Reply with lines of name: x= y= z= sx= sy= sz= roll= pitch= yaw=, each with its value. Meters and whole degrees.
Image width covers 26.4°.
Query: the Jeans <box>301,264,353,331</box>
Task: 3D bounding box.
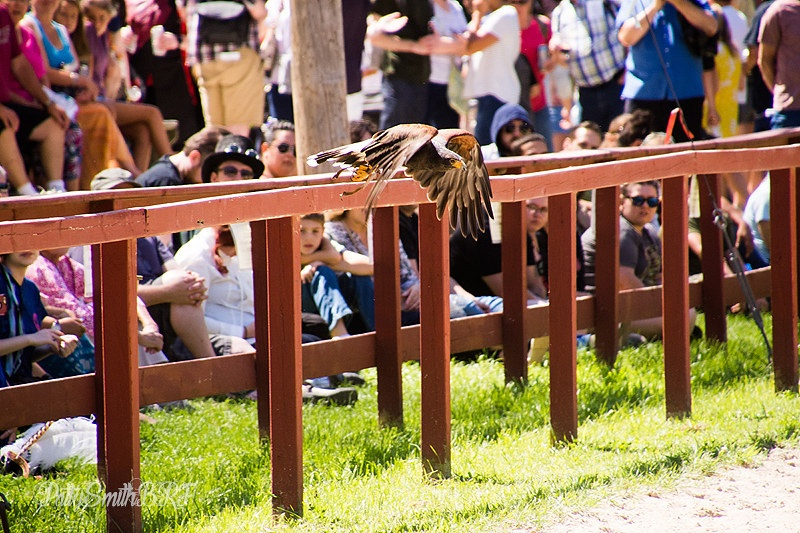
Jeans: x=-0.618 y=0.257 z=14.073 sx=0.324 sy=0.603 sz=0.268 roll=-3 pitch=9 yaw=14

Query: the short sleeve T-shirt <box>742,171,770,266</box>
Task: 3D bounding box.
short sleeve T-shirt: x=3.287 y=-0.400 z=15.673 sx=0.241 sy=0.299 sz=0.777 roll=-22 pitch=-19 yaw=5

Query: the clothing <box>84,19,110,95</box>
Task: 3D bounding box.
clothing: x=-2.755 y=-1.927 z=15.517 sx=0.166 sy=0.742 sz=0.201 roll=-12 pitch=20 yaw=-43

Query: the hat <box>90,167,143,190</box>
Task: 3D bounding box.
hat: x=-2.382 y=-0.701 z=14.072 sx=0.351 sy=0.146 sz=0.244 roll=-8 pitch=-6 yaw=43

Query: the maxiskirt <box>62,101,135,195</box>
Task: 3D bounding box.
maxiskirt: x=-2.806 y=-1.084 z=15.174 sx=0.494 sy=0.765 sz=0.632 roll=-11 pitch=3 yaw=-35

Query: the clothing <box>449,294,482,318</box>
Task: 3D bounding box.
clothing: x=0.552 y=0.349 z=14.314 sx=0.233 sy=0.099 sz=0.193 roll=3 pitch=-5 yaw=-31

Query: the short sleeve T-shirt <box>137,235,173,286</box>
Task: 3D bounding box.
short sleeve T-shirt: x=-2.025 y=-0.113 z=13.887 sx=0.180 sy=0.388 sz=0.308 roll=-28 pitch=39 yaw=-35

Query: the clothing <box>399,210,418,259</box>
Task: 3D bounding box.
clothing: x=0.090 y=-0.284 z=14.827 sx=0.236 sy=0.379 sz=0.121 roll=5 pitch=-2 yaw=28

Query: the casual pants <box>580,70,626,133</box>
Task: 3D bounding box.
casual pants: x=2.076 y=-1.669 z=17.180 sx=0.554 sy=0.810 sz=0.212 roll=1 pitch=10 yaw=19

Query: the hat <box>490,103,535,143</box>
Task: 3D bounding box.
hat: x=1.051 y=-1.340 z=15.867 sx=0.275 sy=0.348 sz=0.391 roll=22 pitch=-22 yaw=-12

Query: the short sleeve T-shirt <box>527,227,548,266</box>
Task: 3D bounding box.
short sleeve T-shirt: x=1.233 y=-0.173 z=15.202 sx=0.210 sy=0.334 sz=0.107 roll=2 pitch=0 yaw=-26

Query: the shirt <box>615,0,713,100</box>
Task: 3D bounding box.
shirt: x=2.536 y=-2.072 z=16.197 sx=0.971 sy=1.329 sz=0.688 roll=-2 pitch=8 yaw=1

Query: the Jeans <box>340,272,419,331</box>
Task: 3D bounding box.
Jeans: x=-0.262 y=0.254 z=14.321 sx=0.204 sy=0.550 sz=0.489 roll=-16 pitch=-28 yaw=42

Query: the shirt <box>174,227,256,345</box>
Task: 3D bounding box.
shirt: x=-1.409 y=0.191 z=14.171 sx=0.592 sy=0.954 sz=0.887 roll=-5 pitch=-2 yaw=27

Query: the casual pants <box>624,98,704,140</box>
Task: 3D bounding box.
casual pants: x=2.657 y=-1.452 z=16.674 sx=0.699 sy=0.459 sz=0.518 roll=0 pitch=0 yaw=1

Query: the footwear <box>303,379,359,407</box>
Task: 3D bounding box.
footwear: x=-0.540 y=1.018 z=13.736 sx=0.479 sy=0.247 sz=0.175 roll=-2 pitch=-4 yaw=6

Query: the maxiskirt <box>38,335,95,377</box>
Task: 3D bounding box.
maxiskirt: x=-2.562 y=0.693 z=12.979 sx=0.195 sy=0.237 sz=0.395 roll=-16 pitch=4 yaw=19

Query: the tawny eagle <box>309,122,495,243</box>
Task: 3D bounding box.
tawny eagle: x=0.169 y=-0.578 z=11.943 sx=1.318 sy=0.843 sz=0.703 roll=-10 pitch=7 yaw=-39
